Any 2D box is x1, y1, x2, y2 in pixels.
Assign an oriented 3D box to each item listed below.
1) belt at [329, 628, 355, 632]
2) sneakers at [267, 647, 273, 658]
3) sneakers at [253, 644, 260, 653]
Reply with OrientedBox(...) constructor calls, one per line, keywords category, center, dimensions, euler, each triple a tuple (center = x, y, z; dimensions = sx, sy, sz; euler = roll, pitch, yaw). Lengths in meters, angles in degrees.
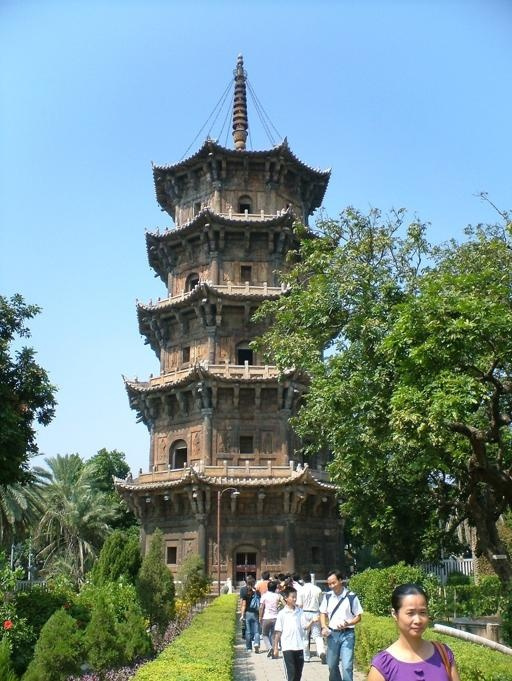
OrientedBox(category="belt", center=(1.188, 3.923, 12.964), dimensions=(0.148, 0.038, 0.157), euler=(2, -12, -18))
OrientedBox(category="sneakers", center=(0.269, 5.853, 17.903), dimensions=(0.064, 0.196, 0.118), euler=(7, 20, -17))
OrientedBox(category="sneakers", center=(-0.004, 6.087, 18.891), dimensions=(0.071, 0.223, 0.154), euler=(-3, 11, 3))
